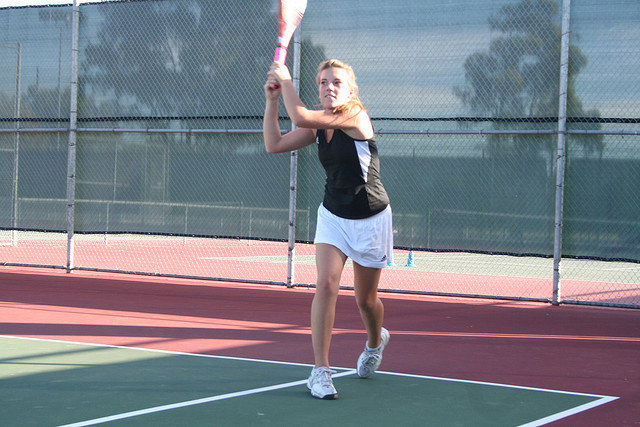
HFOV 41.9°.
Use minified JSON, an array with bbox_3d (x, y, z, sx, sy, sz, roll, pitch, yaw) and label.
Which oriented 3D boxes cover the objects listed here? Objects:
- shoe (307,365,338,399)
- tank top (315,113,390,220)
[{"bbox_3d":[0.030,1.726,8.550,0.311,0.320,0.208,1,9,-1],"label":"shoe"},{"bbox_3d":[0.336,-0.471,8.687,0.766,1.029,0.258,1,9,0],"label":"tank top"}]
